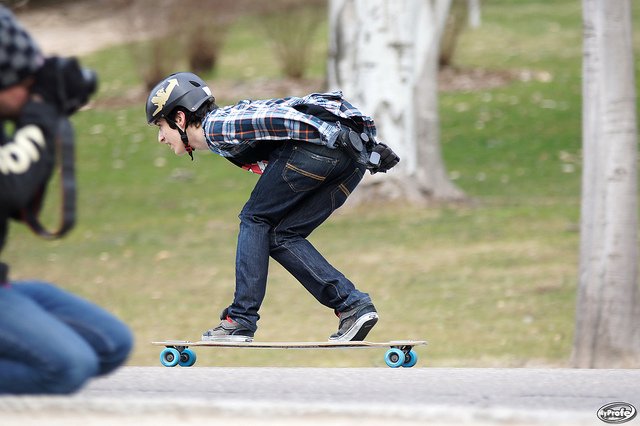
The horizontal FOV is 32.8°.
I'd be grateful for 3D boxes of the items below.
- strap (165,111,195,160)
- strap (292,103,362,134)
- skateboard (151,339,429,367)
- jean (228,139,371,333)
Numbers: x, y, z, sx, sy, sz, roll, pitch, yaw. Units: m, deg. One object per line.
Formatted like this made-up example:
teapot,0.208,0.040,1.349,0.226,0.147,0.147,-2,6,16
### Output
strap,-0.906,-0.519,7.305,0.070,0.306,0.102,-11,21,36
strap,0.068,-0.626,7.159,0.368,0.061,0.181,13,-2,-12
skateboard,-0.187,1.015,7.876,2.046,0.149,0.359,1,-4,0
jean,-0.108,0.148,7.260,0.864,1.307,0.356,10,12,-5
